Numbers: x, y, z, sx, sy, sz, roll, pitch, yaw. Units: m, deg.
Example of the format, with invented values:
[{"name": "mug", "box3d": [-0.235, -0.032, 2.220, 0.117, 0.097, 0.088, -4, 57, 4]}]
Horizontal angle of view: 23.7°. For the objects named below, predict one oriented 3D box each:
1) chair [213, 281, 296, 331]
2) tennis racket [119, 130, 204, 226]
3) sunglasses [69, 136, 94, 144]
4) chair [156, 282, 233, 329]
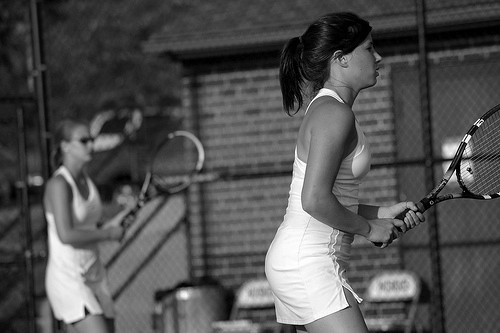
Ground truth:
[{"name": "chair", "box3d": [0.028, 1.504, 12.797, 0.581, 0.922, 0.646, -1, -7, 18]}, {"name": "tennis racket", "box3d": [-1.005, 0.230, 12.060, 0.507, 0.059, 1.373, 24, 24, 17]}, {"name": "sunglasses", "box3d": [-1.566, -0.255, 11.108, 0.186, 0.050, 0.037, 7, -4, -25]}, {"name": "chair", "box3d": [-0.577, 1.437, 12.452, 0.802, 0.326, 0.176, 7, -4, -35]}]
